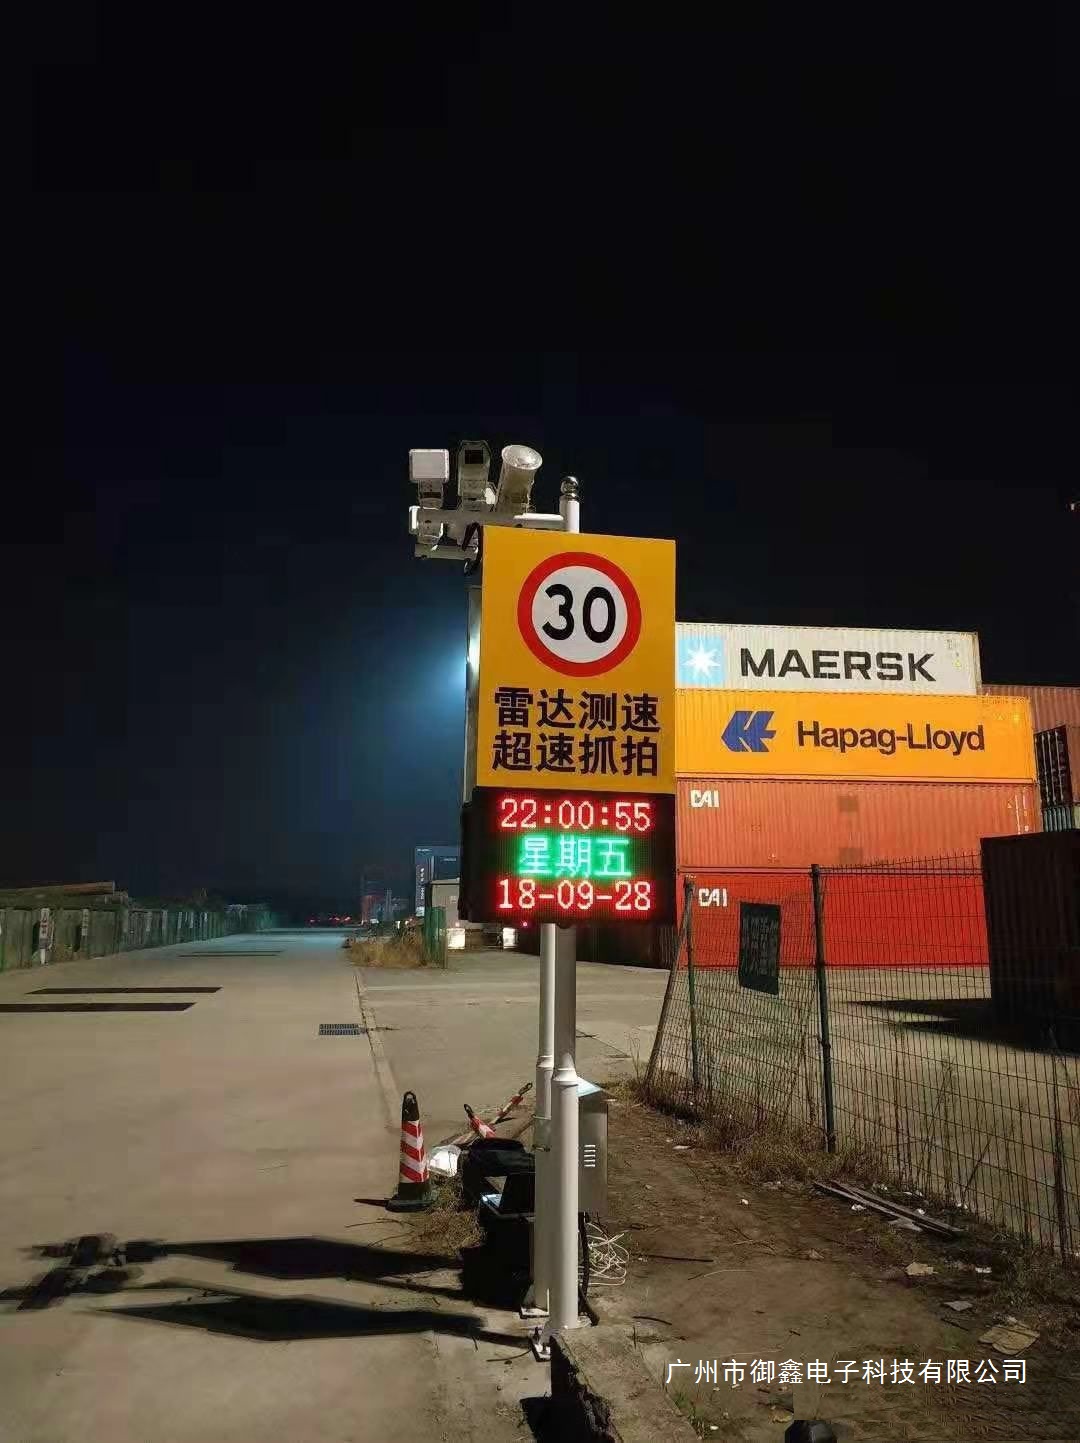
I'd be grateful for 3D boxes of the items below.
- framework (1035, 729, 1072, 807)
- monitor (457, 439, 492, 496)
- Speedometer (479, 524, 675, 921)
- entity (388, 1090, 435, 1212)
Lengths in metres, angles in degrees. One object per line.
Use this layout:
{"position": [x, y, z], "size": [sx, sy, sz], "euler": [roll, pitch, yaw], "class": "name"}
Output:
{"position": [12.636, 1.216, 29.857], "size": [0.633, 1.602, 1.835], "euler": [-2, -4, 17], "class": "framework"}
{"position": [-0.432, -1.594, 7.812], "size": [0.193, 0.359, 0.235], "euler": [1, -5, -5], "class": "monitor"}
{"position": [0.174, 0.008, 5.734], "size": [1.047, 1.875, 0.276], "euler": [2, -5, -21], "class": "Speedometer"}
{"position": [-0.833, 2.686, 7.849], "size": [0.254, 0.692, 0.904], "euler": [1, -5, -7], "class": "entity"}
